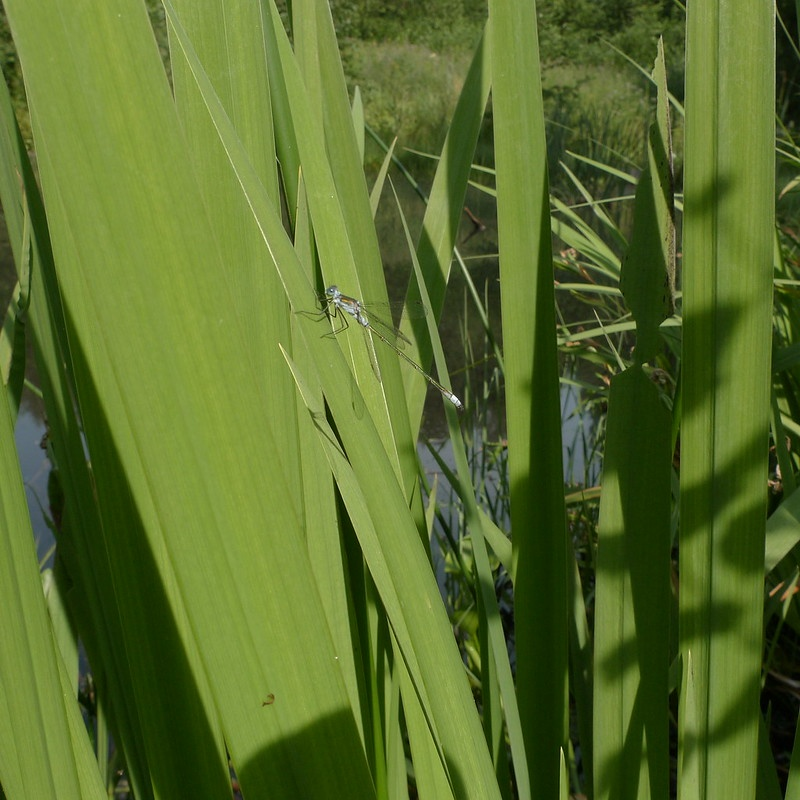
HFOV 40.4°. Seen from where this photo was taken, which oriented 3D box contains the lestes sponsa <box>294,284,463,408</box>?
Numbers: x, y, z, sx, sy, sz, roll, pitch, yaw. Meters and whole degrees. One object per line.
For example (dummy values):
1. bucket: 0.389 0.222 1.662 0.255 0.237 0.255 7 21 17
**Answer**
1. lestes sponsa: -0.009 -0.047 0.788 0.131 0.060 0.051 35 -11 10
